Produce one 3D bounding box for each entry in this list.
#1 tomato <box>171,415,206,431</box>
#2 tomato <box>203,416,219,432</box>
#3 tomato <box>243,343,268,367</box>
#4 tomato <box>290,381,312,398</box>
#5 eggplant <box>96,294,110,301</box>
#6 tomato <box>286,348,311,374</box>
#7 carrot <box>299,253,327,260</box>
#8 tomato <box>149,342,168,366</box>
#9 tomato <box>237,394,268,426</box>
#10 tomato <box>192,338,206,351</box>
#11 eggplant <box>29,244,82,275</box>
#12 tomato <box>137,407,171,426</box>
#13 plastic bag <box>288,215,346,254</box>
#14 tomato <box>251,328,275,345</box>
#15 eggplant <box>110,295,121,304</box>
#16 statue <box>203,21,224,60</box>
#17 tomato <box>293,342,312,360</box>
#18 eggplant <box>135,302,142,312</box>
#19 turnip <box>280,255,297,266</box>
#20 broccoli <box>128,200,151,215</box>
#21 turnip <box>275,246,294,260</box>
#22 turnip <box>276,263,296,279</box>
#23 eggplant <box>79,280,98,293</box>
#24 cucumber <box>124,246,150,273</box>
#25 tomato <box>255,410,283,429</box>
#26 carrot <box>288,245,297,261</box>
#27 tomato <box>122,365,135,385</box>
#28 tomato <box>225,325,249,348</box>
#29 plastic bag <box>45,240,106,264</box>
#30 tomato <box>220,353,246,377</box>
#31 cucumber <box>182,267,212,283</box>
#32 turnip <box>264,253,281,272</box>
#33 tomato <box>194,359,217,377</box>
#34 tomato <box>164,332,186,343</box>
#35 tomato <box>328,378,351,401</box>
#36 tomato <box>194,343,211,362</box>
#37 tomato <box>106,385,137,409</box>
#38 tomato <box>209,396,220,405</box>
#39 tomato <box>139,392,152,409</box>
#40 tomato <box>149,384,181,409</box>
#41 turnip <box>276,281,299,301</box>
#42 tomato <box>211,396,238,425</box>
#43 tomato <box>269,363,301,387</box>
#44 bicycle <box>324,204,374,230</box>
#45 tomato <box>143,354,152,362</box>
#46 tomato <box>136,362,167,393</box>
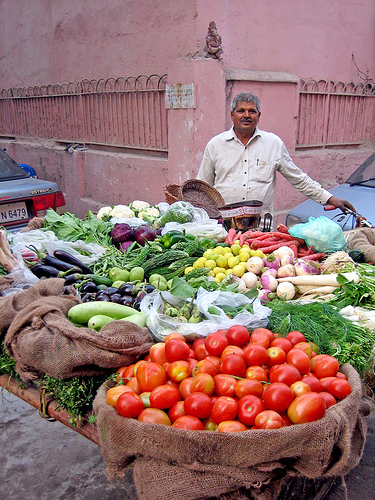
[{"bbox_3d":[0.015,0.551,1.235,0.069,0.061,0.061,6,-5,-14],"label":"tomato"},{"bbox_3d":[0.077,0.600,1.346,0.064,0.056,0.061,-4,3,2],"label":"tomato"},{"bbox_3d":[0.271,0.428,1.576,0.078,0.075,0.100,5,-28,-18],"label":"tomato"},{"bbox_3d":[0.410,0.500,1.391,0.056,0.051,0.050,10,39,6],"label":"tomato"},{"bbox_3d":[-0.467,0.262,2.111,0.052,0.037,0.037,-1,0,10],"label":"eggplant"},{"bbox_3d":[0.448,0.446,1.565,0.101,0.092,0.089,-4,-2,0],"label":"tomato"},{"bbox_3d":[0.877,0.043,2.768,0.255,0.046,0.114,-2,8,-41],"label":"carrot"},{"bbox_3d":[-0.122,0.445,1.626,0.074,0.088,0.074,-4,-1,-4],"label":"tomato"},{"bbox_3d":[0.210,0.545,1.310,0.097,0.088,0.090,-12,-24,2],"label":"tomato"},{"bbox_3d":[0.055,0.442,1.824,0.055,0.049,0.051,-4,28,-6],"label":"tomato"},{"bbox_3d":[-0.855,0.038,2.616,0.341,0.167,0.209,9,16,33],"label":"eggplant"},{"bbox_3d":[-0.111,0.561,1.291,0.082,0.059,0.061,0,-4,27],"label":"tomato"},{"bbox_3d":[0.953,-0.119,2.878,0.414,0.269,0.246,6,7,20],"label":"plastic bag"},{"bbox_3d":[0.353,0.399,1.789,0.069,0.062,0.062,8,-18,-14],"label":"tomato"},{"bbox_3d":[-0.398,0.274,2.134,0.048,0.025,0.039,16,1,25],"label":"eggplant"},{"bbox_3d":[0.378,-3.084,5.683,0.265,0.357,0.683,4,6,5],"label":"statue"},{"bbox_3d":[0.505,0.443,1.699,0.063,0.062,0.062,10,-16,41],"label":"tomato"},{"bbox_3d":[-0.273,0.308,2.117,0.037,0.040,0.023,-19,-21,33],"label":"eggplant"},{"bbox_3d":[0.685,0.072,2.662,0.078,0.089,0.079,29,-3,5],"label":"turnip"},{"bbox_3d":[-0.495,-0.392,3.889,0.201,0.063,0.190,4,29,2],"label":"broccoli"},{"bbox_3d":[0.681,0.012,2.729,0.099,0.106,0.088,-22,40,-39],"label":"turnip"},{"bbox_3d":[0.642,0.139,2.526,0.104,0.077,0.074,-14,-1,6],"label":"turnip"},{"bbox_3d":[-0.591,0.217,2.279,0.063,0.040,0.077,14,7,16],"label":"eggplant"},{"bbox_3d":[-0.323,0.062,2.663,0.082,0.067,0.249,43,33,5],"label":"cucumber"},{"bbox_3d":[0.262,0.552,1.250,0.065,0.060,0.060,-7,2,-11],"label":"tomato"},{"bbox_3d":[0.785,0.021,2.863,0.079,0.095,0.059,-15,-19,25],"label":"carrot"},{"bbox_3d":[-0.235,0.514,1.584,0.040,0.061,0.037,23,-35,-10],"label":"tomato"},{"bbox_3d":[0.226,0.384,1.742,0.100,0.087,0.089,6,-3,10],"label":"tomato"},{"bbox_3d":[-0.787,-0.036,2.873,0.416,0.161,0.433,0,16,25],"label":"plastic bag"},{"bbox_3d":[0.182,0.463,1.540,0.106,0.085,0.083,0,7,-29],"label":"tomato"},{"bbox_3d":[0.062,0.143,2.552,0.208,0.064,0.073,-17,27,-23],"label":"cucumber"},{"bbox_3d":[0.582,0.081,2.639,0.119,0.124,0.109,-4,-1,-22],"label":"turnip"},{"bbox_3d":[0.068,0.461,1.511,0.068,0.059,0.062,0,-13,-16],"label":"tomato"},{"bbox_3d":[-0.056,0.374,1.667,0.066,0.034,0.056,24,-22,-23],"label":"tomato"},{"bbox_3d":[0.558,0.515,1.418,0.076,0.074,0.081,4,23,33],"label":"tomato"},{"bbox_3d":[0.072,0.458,1.715,0.069,0.061,0.066,-2,2,15],"label":"tomato"},{"bbox_3d":[-0.245,0.539,1.406,0.076,0.041,0.078,5,-8,27],"label":"tomato"},{"bbox_3d":[0.092,0.530,1.346,0.037,0.032,0.036,0,-3,-8],"label":"tomato"},{"bbox_3d":[-0.151,0.548,1.403,0.041,0.035,0.039,-2,6,-2],"label":"tomato"},{"bbox_3d":[-0.080,0.520,1.369,0.071,0.066,0.094,-9,-11,13],"label":"tomato"},{"bbox_3d":[0.613,0.251,2.384,0.098,0.064,0.121,-10,2,10],"label":"turnip"},{"bbox_3d":[0.132,0.554,1.317,0.076,0.082,0.092,10,9,44],"label":"tomato"},{"bbox_3d":[0.364,0.469,1.447,0.081,0.083,0.094,5,43,7],"label":"tomato"},{"bbox_3d":[1.604,-0.329,3.808,0.478,0.280,0.236,12,49,22],"label":"bicycle"},{"bbox_3d":[-0.175,0.478,1.694,0.029,0.015,0.028,12,30,2],"label":"tomato"},{"bbox_3d":[-0.158,0.490,1.485,0.122,0.134,0.120,6,-3,-12],"label":"tomato"}]
